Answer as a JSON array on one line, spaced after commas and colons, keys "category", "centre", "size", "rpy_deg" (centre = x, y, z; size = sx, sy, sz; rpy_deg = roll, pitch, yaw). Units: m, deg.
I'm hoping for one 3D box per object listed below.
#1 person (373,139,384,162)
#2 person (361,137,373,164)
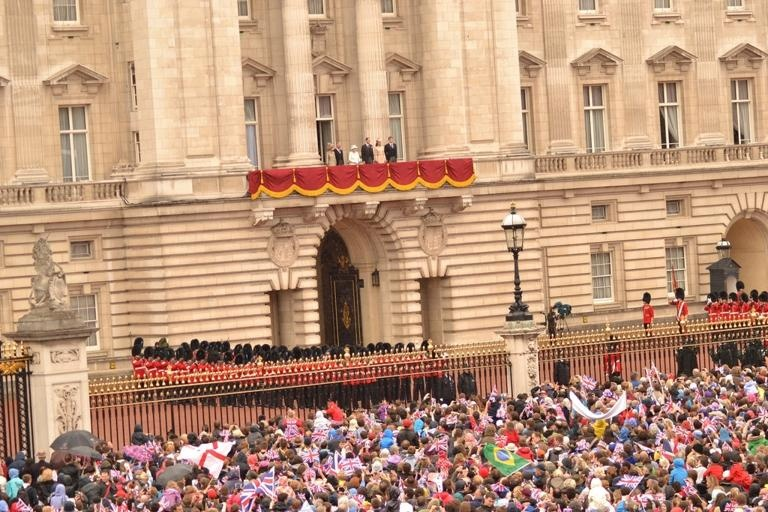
[{"category": "person", "centre": [-0.212, -4.328, 87.812], "size": [0.357, 0.932, 0.684], "rpy_deg": [-5, -2, 21]}, {"category": "person", "centre": [-0.657, -4.335, 87.539], "size": [0.495, 1.133, 1.128], "rpy_deg": [-4, -2, 0]}]
